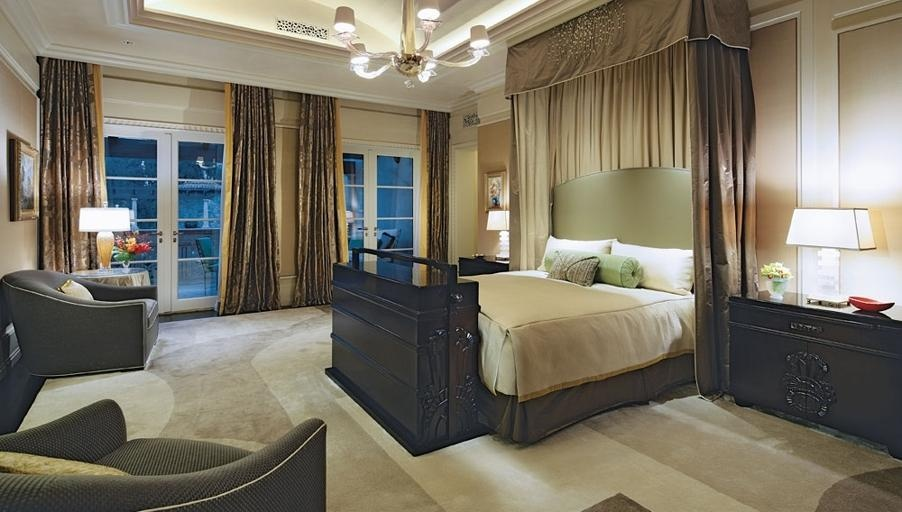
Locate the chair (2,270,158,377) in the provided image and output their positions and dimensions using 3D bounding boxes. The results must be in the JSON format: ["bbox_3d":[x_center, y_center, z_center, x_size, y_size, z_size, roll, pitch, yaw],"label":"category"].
[{"bbox_3d":[-4.132,0.700,6.101,1.358,1.051,1.206,-2,6,-30],"label":"chair"}]

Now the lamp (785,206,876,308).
[{"bbox_3d":[3.716,-0.027,5.207,0.674,0.876,0.490,4,5,38],"label":"lamp"}]

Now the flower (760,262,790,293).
[{"bbox_3d":[3.217,0.234,5.280,0.312,0.308,0.295,4,-7,-28],"label":"flower"}]

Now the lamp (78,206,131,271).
[{"bbox_3d":[-4.541,-0.237,6.970,0.516,0.825,0.669,-2,5,-34],"label":"lamp"}]

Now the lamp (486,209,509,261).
[{"bbox_3d":[0.709,-0.348,8.010,0.295,0.725,0.807,1,4,3],"label":"lamp"}]

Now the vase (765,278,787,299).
[{"bbox_3d":[3.228,0.322,5.250,0.195,0.200,0.191,0,0,-2],"label":"vase"}]

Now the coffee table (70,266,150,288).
[{"bbox_3d":[-4.268,0.278,6.809,0.521,0.133,0.528,3,3,35],"label":"coffee table"}]

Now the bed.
[{"bbox_3d":[0.832,0.878,6.232,3.393,1.134,3.294,1,7,-19],"label":"bed"}]
